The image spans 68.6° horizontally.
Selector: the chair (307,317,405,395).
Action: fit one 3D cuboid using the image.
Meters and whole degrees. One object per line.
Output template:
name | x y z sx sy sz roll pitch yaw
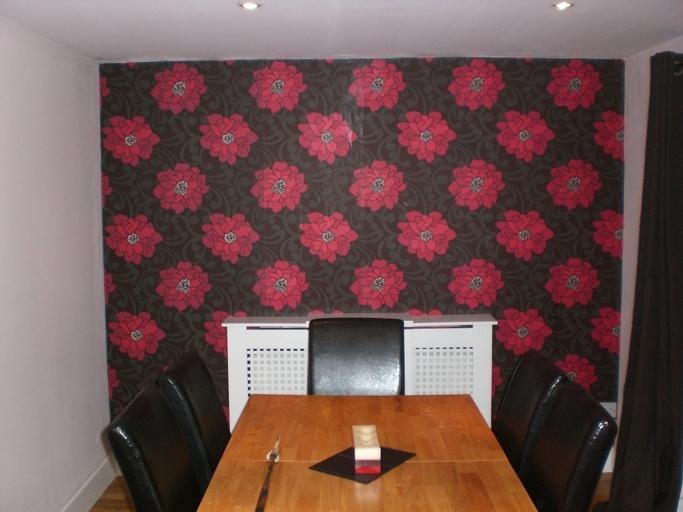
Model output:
chair | 0.085 0.505 2.896 0.630 0.349 0.609 0 -95 2
